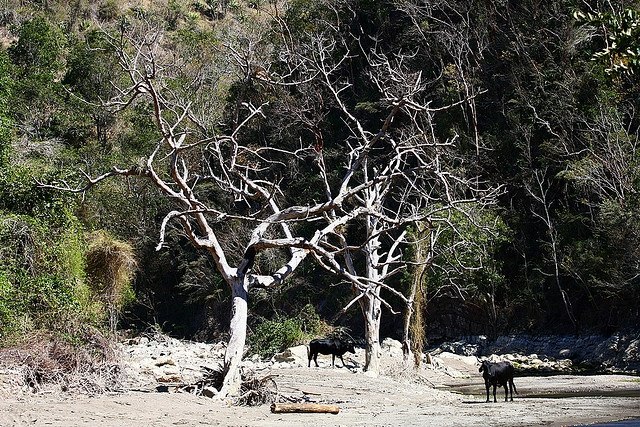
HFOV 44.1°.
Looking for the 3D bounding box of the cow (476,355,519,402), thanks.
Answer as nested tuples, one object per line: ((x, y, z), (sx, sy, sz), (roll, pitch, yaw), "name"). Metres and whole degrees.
((7.880, 7.468, 35.092), (2.490, 1.968, 0.671), (4, -8, -37), "cow")
